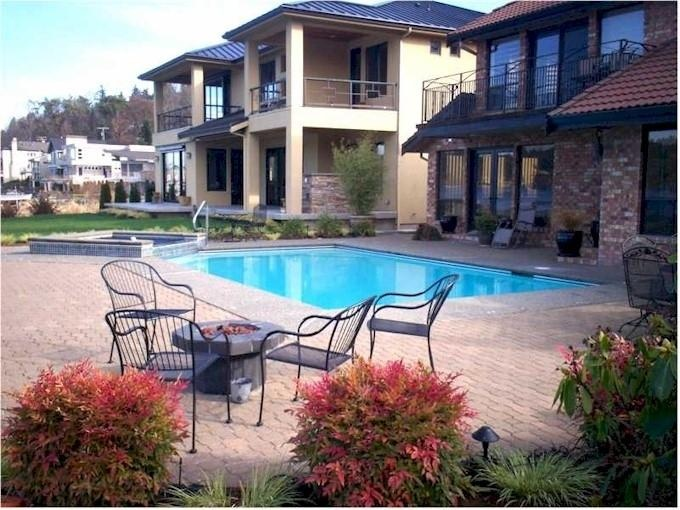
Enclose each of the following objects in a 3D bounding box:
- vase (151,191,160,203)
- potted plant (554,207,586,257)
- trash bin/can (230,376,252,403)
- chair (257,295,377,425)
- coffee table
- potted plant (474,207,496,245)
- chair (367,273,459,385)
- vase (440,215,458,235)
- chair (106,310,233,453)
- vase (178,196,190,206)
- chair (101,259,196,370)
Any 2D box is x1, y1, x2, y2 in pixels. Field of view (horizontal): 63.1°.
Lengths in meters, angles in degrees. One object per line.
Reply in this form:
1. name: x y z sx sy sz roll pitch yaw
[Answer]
1. vase: -10.474 -3.241 31.454 0.566 0.732 0.552 2 4 38
2. potted plant: 5.643 -0.537 13.600 0.781 1.177 0.851 -10 14 -33
3. trash bin/can: -0.912 1.234 5.078 0.203 0.226 0.188 1 0 -24
4. chair: -0.281 0.943 5.036 0.794 1.055 0.754 5 5 27
5. coffee table: -1.091 1.015 5.457 1.018 0.587 1.048 0 6 -6
6. potted plant: 4.344 -0.727 16.493 0.638 0.864 0.400 2 8 15
7. chair: 0.738 0.811 6.151 0.934 1.229 0.836 6 -10 12
8. vase: 3.665 -1.015 18.855 0.571 0.580 0.583 -1 3 -6
9. chair: -1.360 1.048 4.503 0.767 1.174 0.852 5 12 17
10. vase: -7.632 -2.630 27.443 0.601 0.423 0.618 0 0 6
11. chair: -2.430 0.747 6.980 0.959 1.356 0.913 6 9 32
